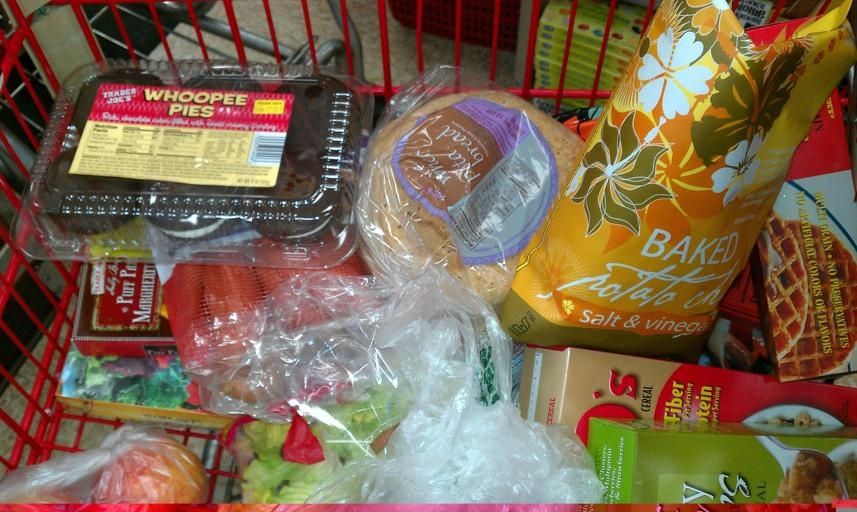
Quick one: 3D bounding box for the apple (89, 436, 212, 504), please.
[{"bbox_3d":[-0.539,0.427,1.262,0.145,0.154,0.146,4,37,5],"label":"apple"}]
